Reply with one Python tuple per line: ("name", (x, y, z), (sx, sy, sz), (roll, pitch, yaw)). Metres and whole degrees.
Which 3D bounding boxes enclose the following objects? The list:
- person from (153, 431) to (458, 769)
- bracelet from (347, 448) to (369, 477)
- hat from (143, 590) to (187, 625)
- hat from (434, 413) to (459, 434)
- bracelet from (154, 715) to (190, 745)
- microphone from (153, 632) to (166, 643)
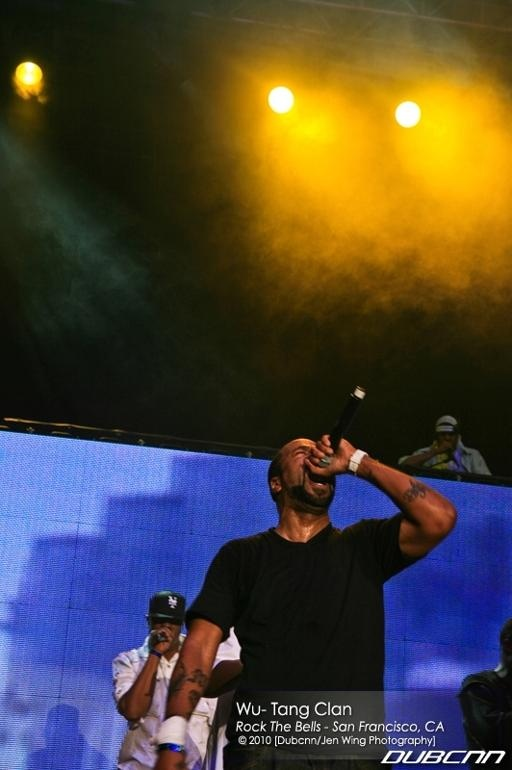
("person", (0.139, 0.601, 2.063), (0.644, 0.848, 0.839), (12, 23, 29))
("bracelet", (0.291, 0.224, 2.078), (0.051, 0.073, 0.078), (20, 39, 26))
("hat", (-0.407, 1.030, 3.311), (0.239, 0.161, 0.301), (6, -17, -5))
("hat", (1.385, 0.296, 5.228), (0.141, 0.102, 0.201), (-5, -21, 14))
("bracelet", (-0.227, 0.946, 1.964), (0.078, 0.067, 0.067), (3, -10, -6))
("microphone", (-0.439, 1.141, 3.207), (0.040, 0.018, 0.050), (9, 55, 15))
